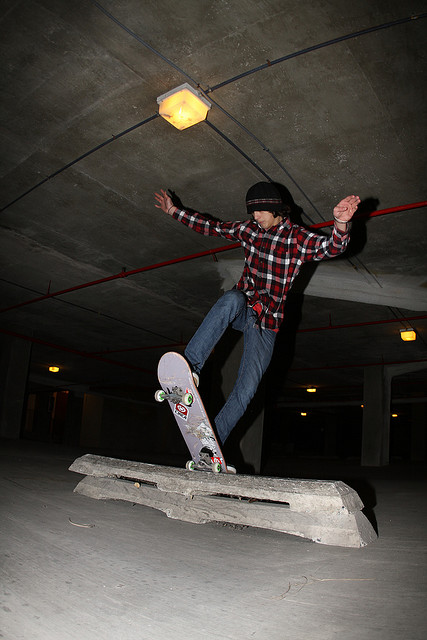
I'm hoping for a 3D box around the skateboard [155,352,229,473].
[{"bbox_3d":[-0.084,0.630,2.620,0.268,0.964,0.145,-4,27,38],"label":"skateboard"}]

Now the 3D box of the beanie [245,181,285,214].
[{"bbox_3d":[0.349,-0.780,2.980,0.186,0.184,0.229,-12,-12,18],"label":"beanie"}]
